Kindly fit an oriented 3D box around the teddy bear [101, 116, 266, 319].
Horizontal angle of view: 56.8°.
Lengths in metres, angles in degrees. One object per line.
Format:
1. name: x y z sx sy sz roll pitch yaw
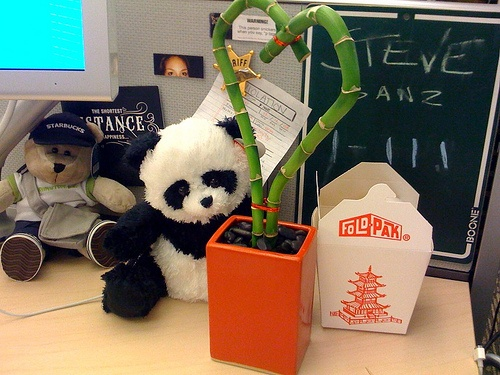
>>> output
1. teddy bear: -0.122 0.060 0.882 0.342 0.361 0.221 -8 23 -10
